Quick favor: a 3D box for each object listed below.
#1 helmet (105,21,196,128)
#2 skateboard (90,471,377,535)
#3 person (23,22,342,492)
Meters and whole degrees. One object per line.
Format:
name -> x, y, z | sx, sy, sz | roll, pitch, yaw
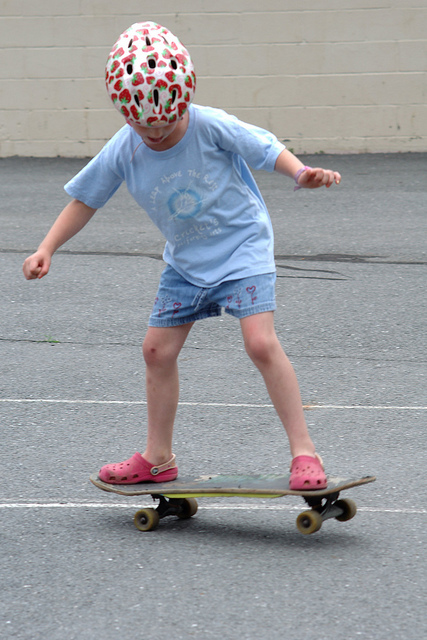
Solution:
helmet -> -0.194, -0.772, 2.328 | 0.214, 0.327, 0.203 | -7, 10, -43
skateboard -> 0.073, 0.570, 2.404 | 1.165, 0.186, 0.331 | -3, 1, 18
person -> -0.117, -0.187, 2.444 | 1.057, 1.595, 0.537 | 2, 8, 12
